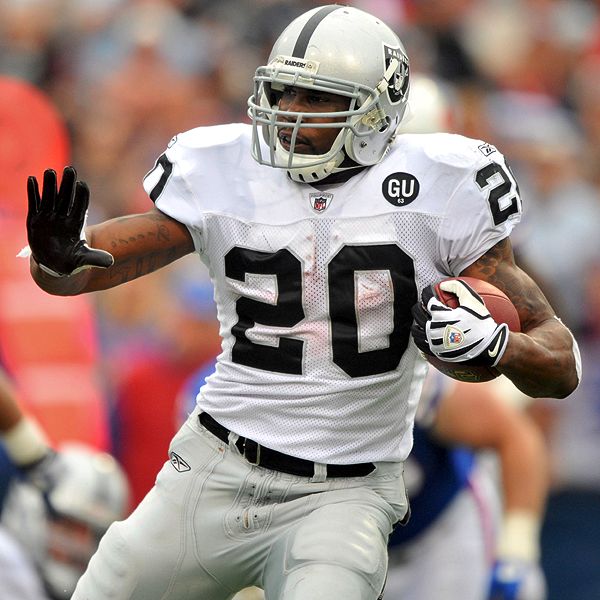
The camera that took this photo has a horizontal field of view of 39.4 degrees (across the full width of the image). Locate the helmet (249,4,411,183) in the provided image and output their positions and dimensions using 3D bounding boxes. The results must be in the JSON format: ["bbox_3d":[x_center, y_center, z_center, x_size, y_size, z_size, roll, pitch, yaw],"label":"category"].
[{"bbox_3d":[0.091,-0.482,2.065,0.392,0.432,0.350,4,17,28],"label":"helmet"}]

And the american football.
[{"bbox_3d":[0.305,0.048,1.829,0.243,0.213,0.231,-1,11,-5],"label":"american football"}]
